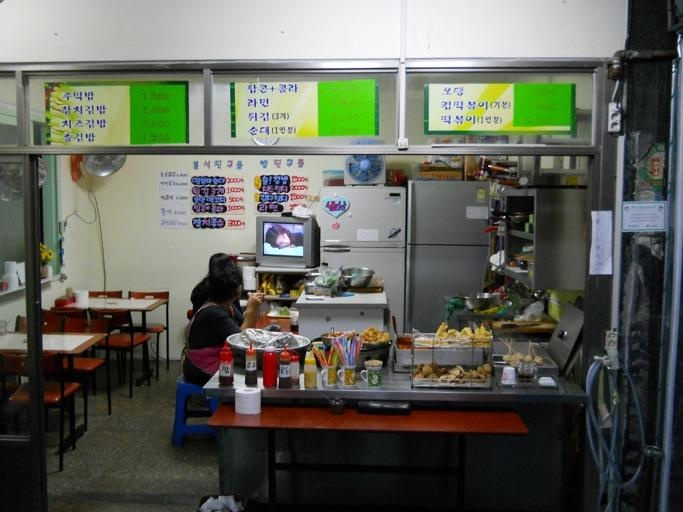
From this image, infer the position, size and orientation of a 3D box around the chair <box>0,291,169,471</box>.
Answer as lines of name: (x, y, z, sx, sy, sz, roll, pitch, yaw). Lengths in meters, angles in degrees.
chair: (-2.120, 1.053, 5.290, 1.327, 0.701, 0.755, 1, 2, 9)

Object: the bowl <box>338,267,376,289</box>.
bowl: (0.114, 0.163, 4.918, 0.234, 0.147, 0.332, -11, 11, 3)

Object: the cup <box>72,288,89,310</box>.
cup: (-2.765, 0.464, 6.768, 0.141, 0.151, 0.080, 1, 6, 4)

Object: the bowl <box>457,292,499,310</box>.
bowl: (1.192, 0.393, 5.536, 0.176, 0.113, 0.181, -2, 4, 0)

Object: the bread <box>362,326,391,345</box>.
bread: (0.225, 0.533, 4.242, 0.116, 0.049, 0.117, -3, 5, -35)

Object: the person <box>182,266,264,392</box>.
person: (-0.978, 0.650, 5.350, 0.624, 1.156, 0.490, 2, 10, -8)

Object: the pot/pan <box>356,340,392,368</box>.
pot/pan: (0.220, 0.633, 4.206, 0.164, 0.086, 0.162, -3, 4, -27)

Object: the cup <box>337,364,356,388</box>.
cup: (0.028, 0.761, 4.050, 0.132, 0.136, 0.091, 0, 0, -6)

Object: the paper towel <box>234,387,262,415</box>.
paper towel: (-0.577, 0.884, 3.900, 0.138, 0.121, 0.146, -1, 2, -7)

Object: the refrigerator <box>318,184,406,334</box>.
refrigerator: (0.253, -0.139, 7.775, 1.157, 2.281, 1.177, 1, 2, 4)

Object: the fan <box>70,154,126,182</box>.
fan: (-2.613, -0.952, 6.774, 0.455, 0.302, 1.381, -16, 12, -24)

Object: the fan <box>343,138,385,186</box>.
fan: (0.219, -0.912, 6.960, 0.486, 0.361, 0.244, -9, 10, 13)

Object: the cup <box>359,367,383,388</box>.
cup: (0.181, 0.769, 4.087, 0.135, 0.142, 0.092, 0, 0, 8)

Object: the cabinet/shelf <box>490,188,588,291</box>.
cabinet/shelf: (1.486, -0.129, 4.808, 0.256, 0.539, 0.896, 0, 2, 4)

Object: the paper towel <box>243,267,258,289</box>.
paper towel: (-1.003, 0.238, 6.826, 0.185, 0.298, 0.198, -1, 7, -12)

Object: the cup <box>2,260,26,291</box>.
cup: (-2.002, 0.125, 3.828, 0.171, 0.187, 0.122, 2, 0, 10)

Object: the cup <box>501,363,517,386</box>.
cup: (1.025, 0.731, 3.953, 0.102, 0.103, 0.107, -1, 5, 0)

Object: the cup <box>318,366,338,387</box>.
cup: (-0.086, 0.757, 4.040, 0.124, 0.128, 0.096, 0, 2, 18)

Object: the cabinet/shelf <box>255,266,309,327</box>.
cabinet/shelf: (-0.596, 0.385, 6.112, 0.443, 0.454, 0.178, 3, 2, -3)

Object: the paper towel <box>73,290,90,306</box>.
paper towel: (-2.759, 0.443, 6.792, 0.123, 0.163, 0.222, 0, 4, -7)
